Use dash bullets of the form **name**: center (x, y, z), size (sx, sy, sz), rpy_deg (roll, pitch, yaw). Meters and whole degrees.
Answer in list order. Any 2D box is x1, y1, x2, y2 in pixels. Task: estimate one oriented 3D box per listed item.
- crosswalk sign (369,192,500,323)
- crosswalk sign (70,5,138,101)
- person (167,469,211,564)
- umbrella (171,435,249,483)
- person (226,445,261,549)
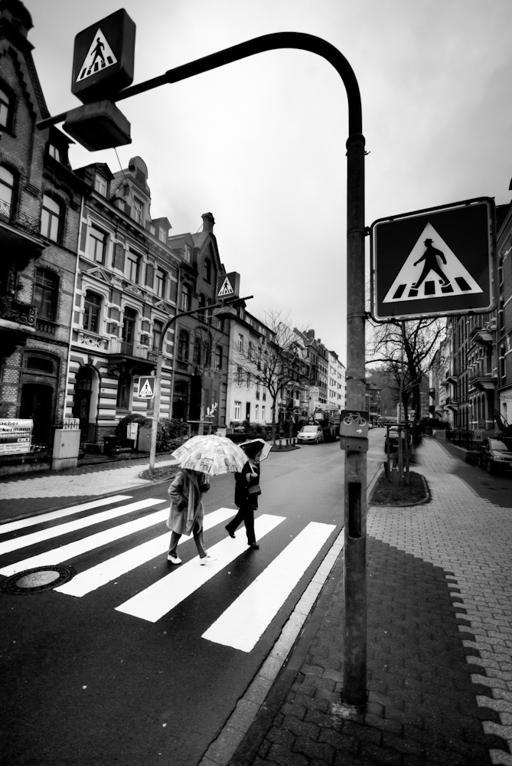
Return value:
- **crosswalk sign**: center (1.153, -0.763, 3.388), size (0.922, 1.118, 0.099), rpy_deg (-5, -1, 40)
- **crosswalk sign**: center (-1.024, -2.113, 3.492), size (0.472, 0.428, 0.195), rpy_deg (1, -1, 33)
- **person**: center (-0.855, 1.624, 6.571), size (0.524, 1.185, 0.570), rpy_deg (8, 2, 20)
- **umbrella**: center (-0.570, 0.868, 6.399), size (0.634, 0.627, 0.711), rpy_deg (1, 1, 21)
- **person**: center (-0.106, 1.552, 7.325), size (0.445, 1.404, 0.557), rpy_deg (8, 3, 8)
